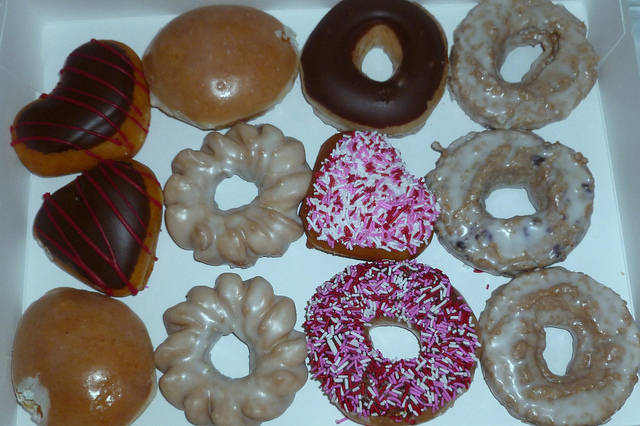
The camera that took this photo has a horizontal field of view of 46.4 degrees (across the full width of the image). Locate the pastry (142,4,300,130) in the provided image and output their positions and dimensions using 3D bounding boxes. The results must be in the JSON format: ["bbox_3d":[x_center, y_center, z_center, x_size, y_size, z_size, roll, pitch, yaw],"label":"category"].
[{"bbox_3d":[-0.552,-0.830,4.328,0.716,0.245,0.722,-12,88,-1],"label":"pastry"}]

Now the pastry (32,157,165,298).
[{"bbox_3d":[-1.205,0.085,4.161,0.695,0.257,0.750,-31,86,-5],"label":"pastry"}]

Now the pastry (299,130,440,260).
[{"bbox_3d":[0.289,-0.054,4.147,0.651,0.209,0.737,5,74,-7],"label":"pastry"}]
